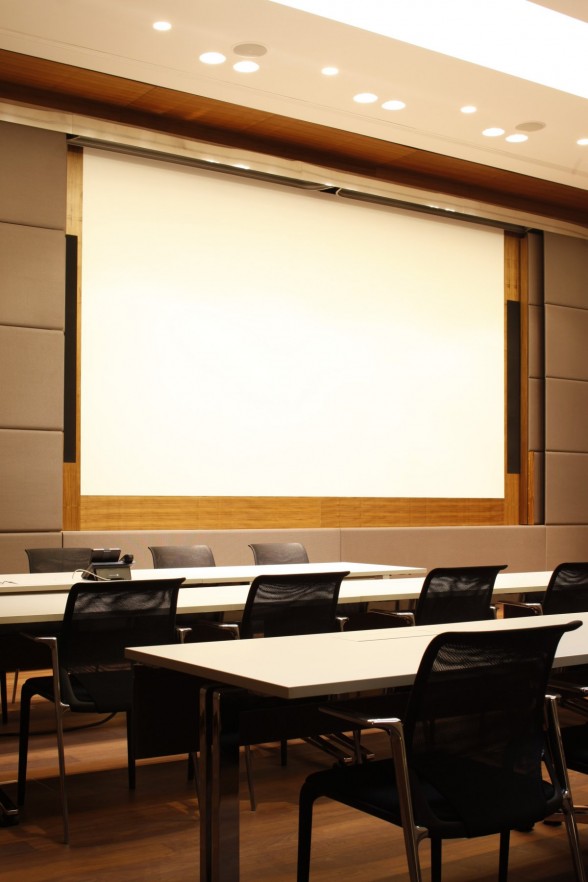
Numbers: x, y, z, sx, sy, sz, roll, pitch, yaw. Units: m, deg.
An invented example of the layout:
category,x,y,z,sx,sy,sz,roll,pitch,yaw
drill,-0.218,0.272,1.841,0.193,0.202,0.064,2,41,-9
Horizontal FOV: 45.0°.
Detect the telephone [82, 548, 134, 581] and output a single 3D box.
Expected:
category,x,y,z,sx,sy,sz,roll,pitch,yaw
telephone,-0.945,0.640,3.616,0.228,0.158,0.226,5,-13,-33
